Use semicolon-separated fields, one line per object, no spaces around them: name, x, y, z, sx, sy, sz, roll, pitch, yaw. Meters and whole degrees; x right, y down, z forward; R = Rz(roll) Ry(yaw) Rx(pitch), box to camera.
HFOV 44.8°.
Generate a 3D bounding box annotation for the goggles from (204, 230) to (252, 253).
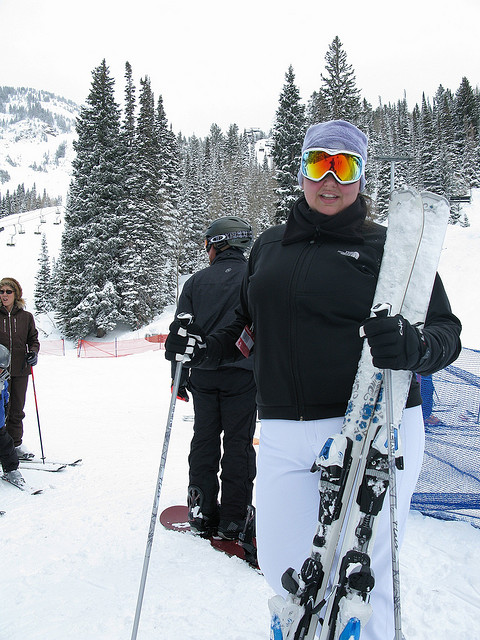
goggles;-0.101;-0.591;4.549;0.241;0.112;0.188;-2;2;22
